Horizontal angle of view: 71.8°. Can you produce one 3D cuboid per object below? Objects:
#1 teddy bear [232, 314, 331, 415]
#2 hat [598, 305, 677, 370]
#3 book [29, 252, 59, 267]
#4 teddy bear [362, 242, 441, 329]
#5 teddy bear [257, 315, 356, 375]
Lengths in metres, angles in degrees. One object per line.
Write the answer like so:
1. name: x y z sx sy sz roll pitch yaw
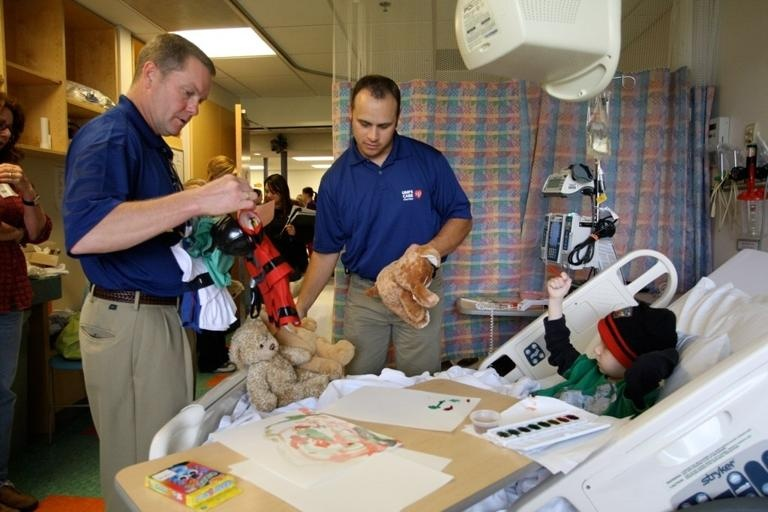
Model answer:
1. teddy bear: -0.467 0.468 2.316 0.346 0.411 0.324 3 29 33
2. hat: 1.136 0.386 2.448 0.310 0.174 0.252 -14 54 -18
3. book: -2.308 0.017 3.595 0.139 0.064 0.108 0 3 -10
4. teddy bear: 0.114 0.102 2.495 0.271 0.375 0.280 16 29 -7
5. teddy bear: -0.358 0.407 2.492 0.369 0.151 0.275 24 17 0
